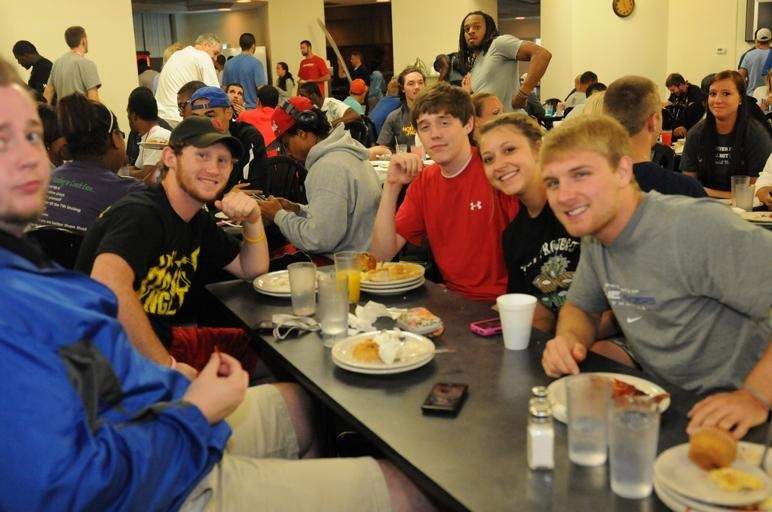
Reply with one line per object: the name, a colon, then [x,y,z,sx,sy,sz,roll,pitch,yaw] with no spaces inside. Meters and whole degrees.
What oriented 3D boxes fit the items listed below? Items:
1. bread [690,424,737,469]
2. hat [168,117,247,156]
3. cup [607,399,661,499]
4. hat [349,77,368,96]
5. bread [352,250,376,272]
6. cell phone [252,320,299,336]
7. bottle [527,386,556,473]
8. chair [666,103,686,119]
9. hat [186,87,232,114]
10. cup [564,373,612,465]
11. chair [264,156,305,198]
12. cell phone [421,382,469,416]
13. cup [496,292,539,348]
bread: [0.769,0.449,1.378,0.091,0.089,0.062,7,9,33]
hat: [-0.765,-0.501,2.533,0.235,0.116,0.162,-9,1,7]
cup: [0.593,0.454,1.404,0.110,0.194,0.132,4,18,20]
hat: [-0.425,-3.024,10.515,0.257,0.189,0.379,6,43,13]
bread: [-0.079,0.022,2.602,0.084,0.081,0.024,-17,-14,-14]
cell phone: [-0.391,0.270,2.192,0.127,0.025,0.064,3,6,0]
bottle: [0.390,0.428,1.463,0.059,0.178,0.090,2,17,14]
chair: [4.281,-2.113,8.692,0.179,0.230,0.244,-9,-13,8]
hat: [-1.405,-1.258,4.795,0.289,0.143,0.194,-8,12,-32]
cup: [0.516,0.410,1.491,0.107,0.200,0.122,4,18,21]
chair: [-0.735,-0.589,4.416,0.298,0.381,0.212,13,25,17]
cell phone: [0.173,0.409,1.693,0.075,0.022,0.107,3,20,18]
cup: [0.443,0.216,2.050,0.168,0.174,0.162,-2,14,0]
